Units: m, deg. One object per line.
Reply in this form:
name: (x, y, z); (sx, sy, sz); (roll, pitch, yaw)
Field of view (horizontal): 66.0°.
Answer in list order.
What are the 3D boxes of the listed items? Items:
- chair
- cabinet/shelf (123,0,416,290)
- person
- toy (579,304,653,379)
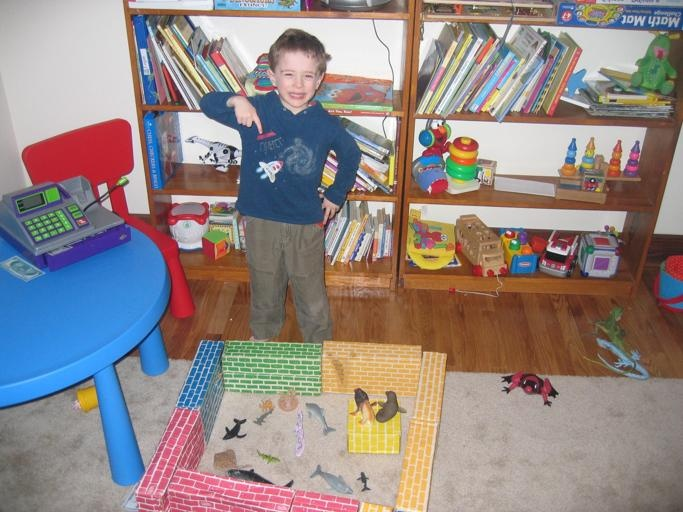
chair: (-1.009, -0.089, 2.334); (0.588, 0.796, 0.519); (25, 37, 19)
cabinet/shelf: (-0.311, -0.539, 2.433); (1.294, 1.486, 0.440); (2, 32, 5)
person: (-0.228, -0.201, 2.237); (0.599, 1.371, 0.466); (-6, 34, -12)
toy: (1.312, 0.410, 2.464); (0.272, 0.089, 0.258); (38, 48, 12)
